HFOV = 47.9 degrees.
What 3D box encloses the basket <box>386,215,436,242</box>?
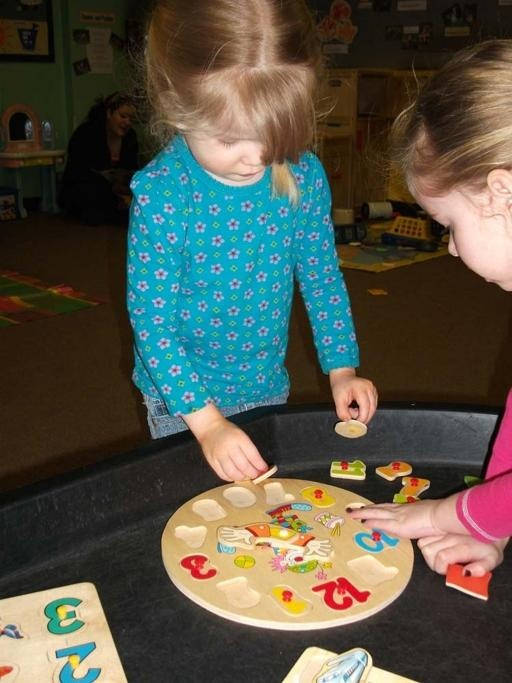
[{"bbox_3d":[1.157,-0.827,4.227,0.241,0.135,0.296,12,24,6],"label":"basket"}]
